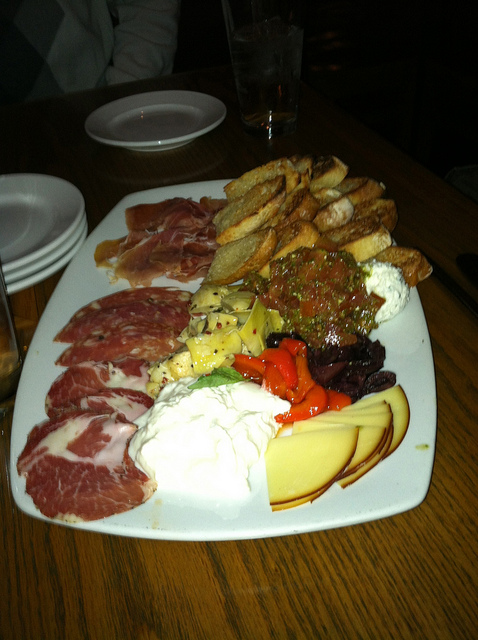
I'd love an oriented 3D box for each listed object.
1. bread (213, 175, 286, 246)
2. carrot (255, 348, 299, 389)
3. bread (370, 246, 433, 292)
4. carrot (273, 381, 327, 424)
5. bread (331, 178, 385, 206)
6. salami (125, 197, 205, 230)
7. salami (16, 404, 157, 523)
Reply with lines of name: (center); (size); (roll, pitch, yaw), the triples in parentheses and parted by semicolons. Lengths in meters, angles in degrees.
bread: (0.048, -0.365, 1.761); (0.268, 0.064, 0.244); (-28, 27, 23)
carrot: (0.089, 0.101, 1.222); (0.075, 0.030, 0.082); (-9, 49, -2)
bread: (0.440, -0.151, 1.457); (0.133, 0.071, 0.105); (26, 52, 28)
carrot: (0.127, 0.165, 1.163); (0.080, 0.098, 0.030); (16, 75, 2)
bread: (0.386, -0.416, 1.699); (0.147, 0.040, 0.134); (4, 47, 4)
salami: (-0.276, -0.396, 1.923); (0.272, 0.074, 0.213); (-13, 44, -9)
salami: (-0.315, 0.282, 1.088); (0.251, 0.041, 0.275); (-16, 45, -13)
